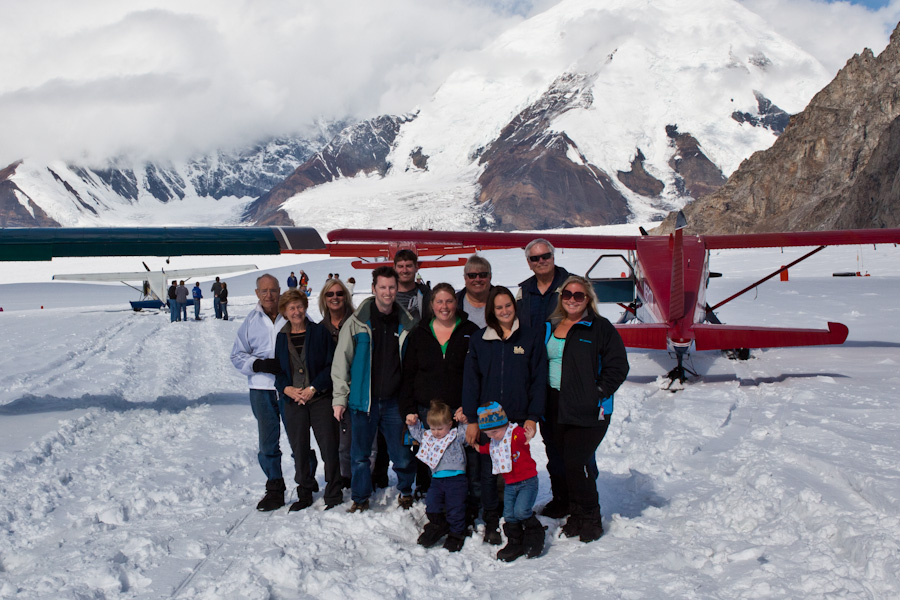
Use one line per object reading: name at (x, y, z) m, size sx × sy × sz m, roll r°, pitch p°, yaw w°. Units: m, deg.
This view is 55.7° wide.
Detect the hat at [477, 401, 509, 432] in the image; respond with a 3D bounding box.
hat at (0.487, 1.314, 9.690) m, size 0.341 × 0.317 × 0.193 m, roll 0°, pitch 14°, yaw 5°
